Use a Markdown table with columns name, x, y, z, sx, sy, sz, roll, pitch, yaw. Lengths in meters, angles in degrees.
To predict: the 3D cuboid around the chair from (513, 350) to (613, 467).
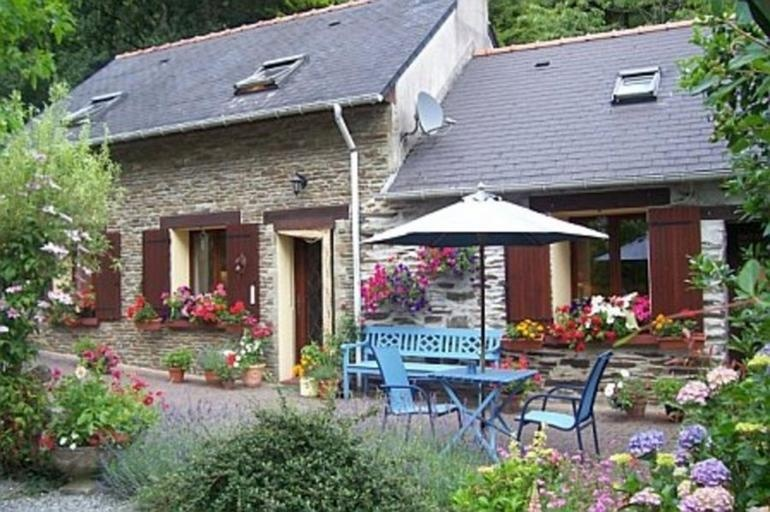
| name | x | y | z | sx | sy | sz | roll | pitch | yaw |
| --- | --- | --- | --- | --- | --- | --- | --- | --- | --- |
| chair | 2.183 | 1.929 | 12.352 | 0.998 | 1.548 | 0.951 | 4 | 3 | 30 |

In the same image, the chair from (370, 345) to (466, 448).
| name | x | y | z | sx | sy | sz | roll | pitch | yaw |
| --- | --- | --- | --- | --- | --- | --- | --- | --- | --- |
| chair | 0.423 | 1.836 | 13.054 | 1.076 | 1.677 | 1.020 | -9 | -12 | 35 |

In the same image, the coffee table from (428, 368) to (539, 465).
| name | x | y | z | sx | sy | sz | roll | pitch | yaw |
| --- | --- | --- | --- | --- | --- | --- | --- | --- | --- |
| coffee table | 1.235 | 1.939 | 12.794 | 1.072 | 1.257 | 1.113 | 0 | 0 | 37 |

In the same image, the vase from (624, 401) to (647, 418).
| name | x | y | z | sx | sy | sz | roll | pitch | yaw |
| --- | --- | --- | --- | --- | --- | --- | --- | --- | --- |
| vase | 3.509 | 2.157 | 13.889 | 0.227 | 0.197 | 0.245 | 0 | -6 | -13 |

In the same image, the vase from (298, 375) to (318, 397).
| name | x | y | z | sx | sy | sz | roll | pitch | yaw |
| --- | --- | --- | --- | --- | --- | --- | --- | --- | --- |
| vase | -1.184 | 2.030 | 15.406 | 0.262 | 0.328 | 0.285 | 0 | -6 | -5 |

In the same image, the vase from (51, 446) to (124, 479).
| name | x | y | z | sx | sy | sz | roll | pitch | yaw |
| --- | --- | --- | --- | --- | --- | --- | --- | --- | --- |
| vase | -3.653 | 2.510 | 11.962 | 0.730 | 0.412 | 0.220 | 1 | -6 | 7 |

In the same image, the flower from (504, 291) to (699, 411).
| name | x | y | z | sx | sy | sz | roll | pitch | yaw |
| --- | --- | --- | --- | --- | --- | --- | --- | --- | --- |
| flower | 3.228 | 1.014 | 14.060 | 2.129 | 0.732 | 1.677 | -1 | -3 | 11 |

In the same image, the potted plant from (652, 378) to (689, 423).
| name | x | y | z | sx | sy | sz | roll | pitch | yaw |
| --- | --- | --- | --- | --- | --- | --- | --- | --- | --- |
| potted plant | 3.890 | 1.972 | 13.667 | 0.435 | 0.612 | 1.015 | -1 | -7 | 17 |

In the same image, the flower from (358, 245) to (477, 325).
| name | x | y | z | sx | sy | sz | roll | pitch | yaw |
| --- | --- | --- | --- | --- | --- | --- | --- | --- | --- |
| flower | 0.456 | 0.444 | 15.218 | 1.464 | 1.164 | 0.731 | -3 | 2 | 11 |

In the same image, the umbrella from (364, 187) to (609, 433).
| name | x | y | z | sx | sy | sz | roll | pitch | yaw |
| --- | --- | --- | --- | --- | --- | --- | --- | --- | --- |
| umbrella | 1.501 | 0.648 | 13.318 | 2.716 | 2.250 | 2.807 | -3 | -6 | 27 |

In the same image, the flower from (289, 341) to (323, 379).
| name | x | y | z | sx | sy | sz | roll | pitch | yaw |
| --- | --- | --- | --- | --- | --- | --- | --- | --- | --- |
| flower | -1.285 | 1.673 | 15.775 | 0.257 | 0.440 | 0.368 | -10 | -7 | -9 |
